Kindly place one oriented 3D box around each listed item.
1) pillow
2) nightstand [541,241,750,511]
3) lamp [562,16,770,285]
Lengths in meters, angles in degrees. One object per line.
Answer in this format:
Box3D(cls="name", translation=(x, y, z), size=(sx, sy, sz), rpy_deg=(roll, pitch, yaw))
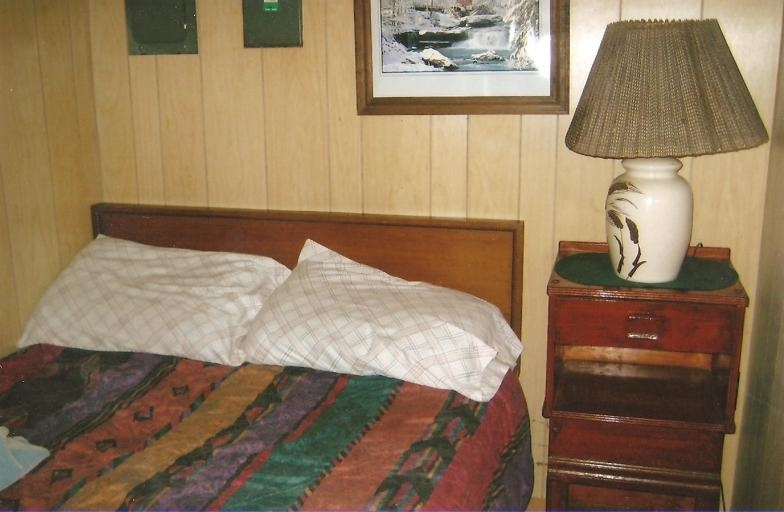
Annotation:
Box3D(cls="pillow", translation=(-0.503, 0.217, 2.591), size=(1.931, 0.398, 0.418), rpy_deg=(3, 18, 12))
Box3D(cls="nightstand", translation=(0.887, 0.496, 2.425), size=(0.653, 0.890, 0.366), rpy_deg=(3, 19, 12))
Box3D(cls="lamp", translation=(0.968, -0.407, 2.517), size=(0.842, 0.968, 0.829), rpy_deg=(-10, 12, -40))
